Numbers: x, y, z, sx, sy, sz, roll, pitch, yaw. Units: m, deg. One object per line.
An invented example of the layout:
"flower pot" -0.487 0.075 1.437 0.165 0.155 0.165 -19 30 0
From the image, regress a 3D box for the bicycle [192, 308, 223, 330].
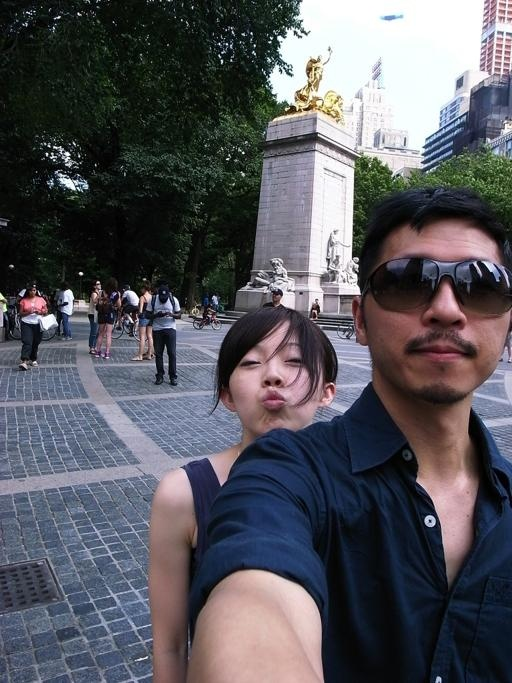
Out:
"bicycle" -2.241 -0.963 22.918 1.353 0.857 0.846 1 3 14

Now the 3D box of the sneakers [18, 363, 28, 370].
"sneakers" -4.073 0.443 9.202 0.086 0.094 0.206 1 -8 -18

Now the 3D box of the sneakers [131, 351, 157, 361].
"sneakers" -2.439 0.340 11.669 0.634 0.254 0.185 3 6 -19

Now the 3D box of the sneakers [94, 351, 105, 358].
"sneakers" -3.425 0.280 11.628 0.122 0.141 0.341 6 5 12

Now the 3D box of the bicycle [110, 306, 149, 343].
"bicycle" -3.543 -0.482 14.797 0.717 0.819 1.399 7 15 -36

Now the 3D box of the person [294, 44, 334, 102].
"person" 2.790 -13.299 26.745 1.303 2.535 0.650 4 3 16

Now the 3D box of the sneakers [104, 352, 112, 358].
"sneakers" -3.231 0.324 11.533 0.094 0.113 0.269 2 -14 -13

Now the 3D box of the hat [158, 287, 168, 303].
"hat" -1.533 -0.756 8.730 0.170 0.261 0.181 3 3 -16

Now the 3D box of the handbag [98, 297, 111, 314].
"handbag" -3.151 -0.738 10.983 0.329 0.407 0.216 1 8 -4

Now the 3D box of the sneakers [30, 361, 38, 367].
"sneakers" -4.108 0.419 9.747 0.078 0.089 0.222 -1 -8 -18

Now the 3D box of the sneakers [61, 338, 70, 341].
"sneakers" -5.473 -0.067 15.244 0.119 0.112 0.261 0 -4 -37
